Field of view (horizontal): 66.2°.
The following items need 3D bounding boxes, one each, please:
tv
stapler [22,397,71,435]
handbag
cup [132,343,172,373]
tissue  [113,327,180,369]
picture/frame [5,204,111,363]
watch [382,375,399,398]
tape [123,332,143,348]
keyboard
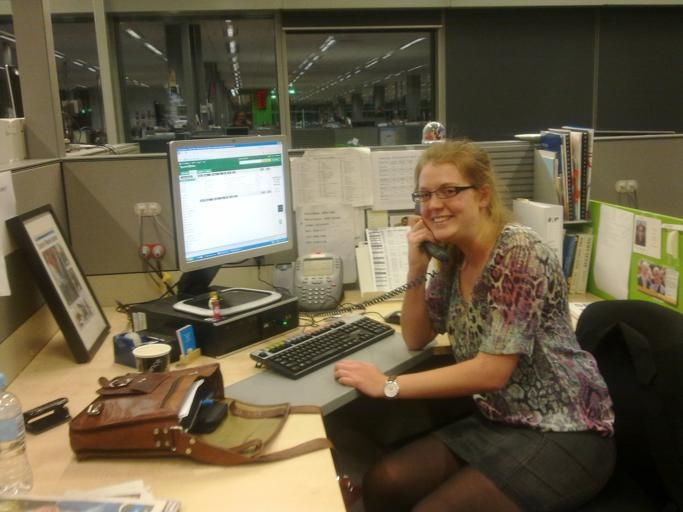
[{"bbox_3d":[-0.442,-0.115,2.020,0.072,0.737,0.883,3,8,31],"label":"tv"},{"bbox_3d":[-0.838,0.439,1.509,0.127,0.062,0.130,-3,15,-37],"label":"stapler"},{"bbox_3d":[-0.417,0.429,1.393,0.477,0.148,0.303,1,4,-2],"label":"handbag"},{"bbox_3d":[-0.615,0.322,1.679,0.093,0.057,0.095,1,9,0],"label":"cup"},{"bbox_3d":[-0.674,0.321,1.880,0.284,0.109,0.231,-5,-10,-24],"label":"tissue "},{"bbox_3d":[-0.980,0.085,1.836,0.184,0.627,0.424,-3,9,-4],"label":"picture/frame"},{"bbox_3d":[0.148,0.389,1.585,0.037,0.053,0.057,6,55,0],"label":"watch"},{"bbox_3d":[-0.719,0.285,1.792,0.050,0.047,0.050,1,2,-7],"label":"tape"},{"bbox_3d":[-0.073,0.308,1.799,0.148,0.049,0.361,13,22,40],"label":"keyboard"}]
